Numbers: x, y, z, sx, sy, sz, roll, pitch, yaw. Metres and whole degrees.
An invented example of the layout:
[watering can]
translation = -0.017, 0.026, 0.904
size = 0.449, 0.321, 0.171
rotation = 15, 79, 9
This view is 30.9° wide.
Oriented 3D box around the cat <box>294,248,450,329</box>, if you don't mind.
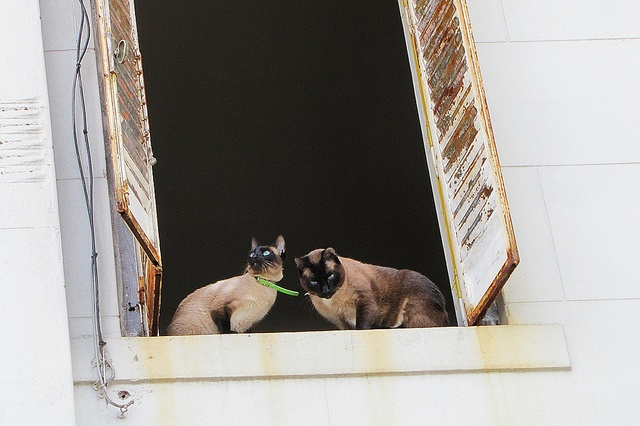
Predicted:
[cat]
translation = 0.476, 0.650, 9.701
size = 1.603, 0.748, 0.521
rotation = -2, -1, -38
